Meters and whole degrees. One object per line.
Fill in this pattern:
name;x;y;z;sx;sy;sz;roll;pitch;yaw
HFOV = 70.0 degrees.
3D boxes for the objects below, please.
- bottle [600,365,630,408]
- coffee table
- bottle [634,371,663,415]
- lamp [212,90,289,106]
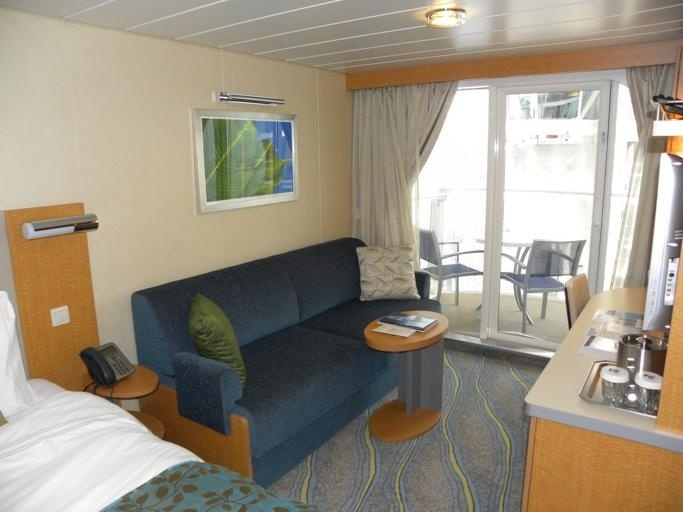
bottle;1.143;0.535;2.054;0.136;0.148;0.135;-3;8;-33
coffee table;0.368;0.833;3.686;0.555;0.838;0.868;6;16;33
bottle;1.243;0.558;2.018;0.130;0.153;0.133;3;0;27
lamp;-0.677;-1.228;3.814;0.129;0.087;0.697;7;15;39
